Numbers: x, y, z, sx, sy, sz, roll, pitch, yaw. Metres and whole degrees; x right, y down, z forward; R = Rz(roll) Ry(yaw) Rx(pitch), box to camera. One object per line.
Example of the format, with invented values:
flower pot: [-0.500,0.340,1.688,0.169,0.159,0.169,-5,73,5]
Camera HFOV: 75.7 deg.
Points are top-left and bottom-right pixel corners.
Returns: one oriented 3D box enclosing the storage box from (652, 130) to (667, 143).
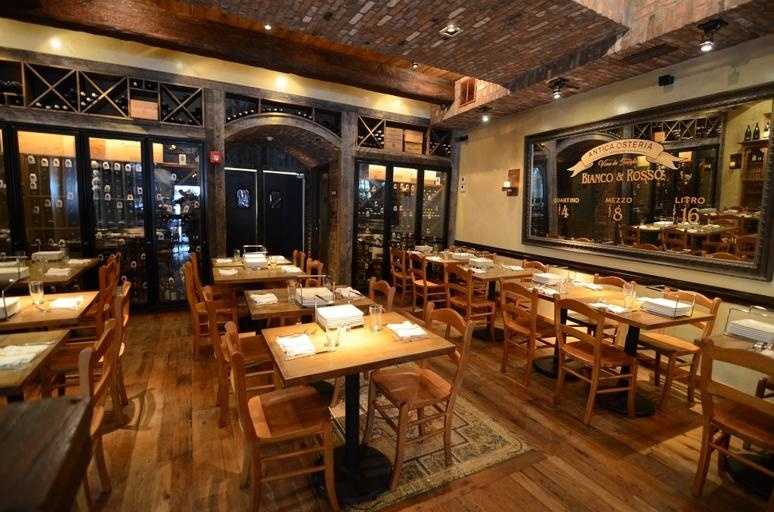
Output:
storage box: [3.544,-1.548,6.464,0.150,0.127,0.147,4,5,28]

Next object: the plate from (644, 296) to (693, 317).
plate: [3.065,0.527,5.537,0.284,0.104,0.318,-1,6,-9]

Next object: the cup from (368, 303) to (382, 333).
cup: [-0.104,0.607,5.056,0.134,0.222,0.338,-1,7,-1]

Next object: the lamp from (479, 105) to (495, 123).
lamp: [1.669,-2.328,8.246,0.274,0.313,0.263,-4,8,1]

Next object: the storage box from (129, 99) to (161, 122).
storage box: [-3.651,-2.194,7.508,0.407,0.208,0.365,-3,17,-27]

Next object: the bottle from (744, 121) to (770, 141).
bottle: [4.263,-1.433,5.714,0.100,0.217,0.252,-7,10,-26]

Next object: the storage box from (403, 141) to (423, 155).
storage box: [0.505,-2.062,9.534,0.467,0.189,0.231,-1,4,-29]

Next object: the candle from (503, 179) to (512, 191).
candle: [2.057,-1.215,8.521,0.184,0.280,0.169,2,-2,7]
